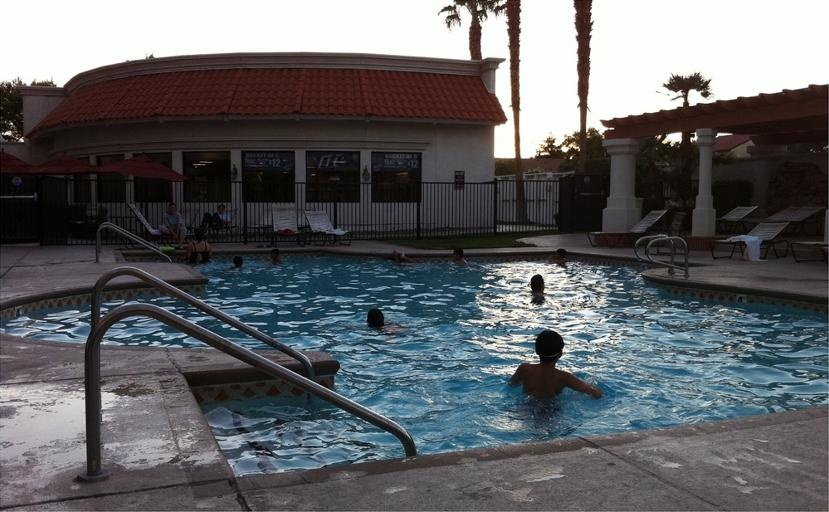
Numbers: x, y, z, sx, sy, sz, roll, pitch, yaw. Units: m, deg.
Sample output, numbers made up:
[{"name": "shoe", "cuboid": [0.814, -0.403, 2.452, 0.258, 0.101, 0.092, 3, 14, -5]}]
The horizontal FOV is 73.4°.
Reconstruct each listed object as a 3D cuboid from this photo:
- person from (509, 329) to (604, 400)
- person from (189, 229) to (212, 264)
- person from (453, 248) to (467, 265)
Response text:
[{"name": "person", "cuboid": [1.610, 1.232, 6.385, 1.024, 0.880, 0.526, 2, 10, 8]}, {"name": "person", "cuboid": [-6.165, -0.257, 15.887, 0.607, 0.824, 0.857, -2, 10, -10]}, {"name": "person", "cuboid": [1.265, 0.004, 15.759, 0.375, 0.441, 0.700, 1, 9, 5]}]
